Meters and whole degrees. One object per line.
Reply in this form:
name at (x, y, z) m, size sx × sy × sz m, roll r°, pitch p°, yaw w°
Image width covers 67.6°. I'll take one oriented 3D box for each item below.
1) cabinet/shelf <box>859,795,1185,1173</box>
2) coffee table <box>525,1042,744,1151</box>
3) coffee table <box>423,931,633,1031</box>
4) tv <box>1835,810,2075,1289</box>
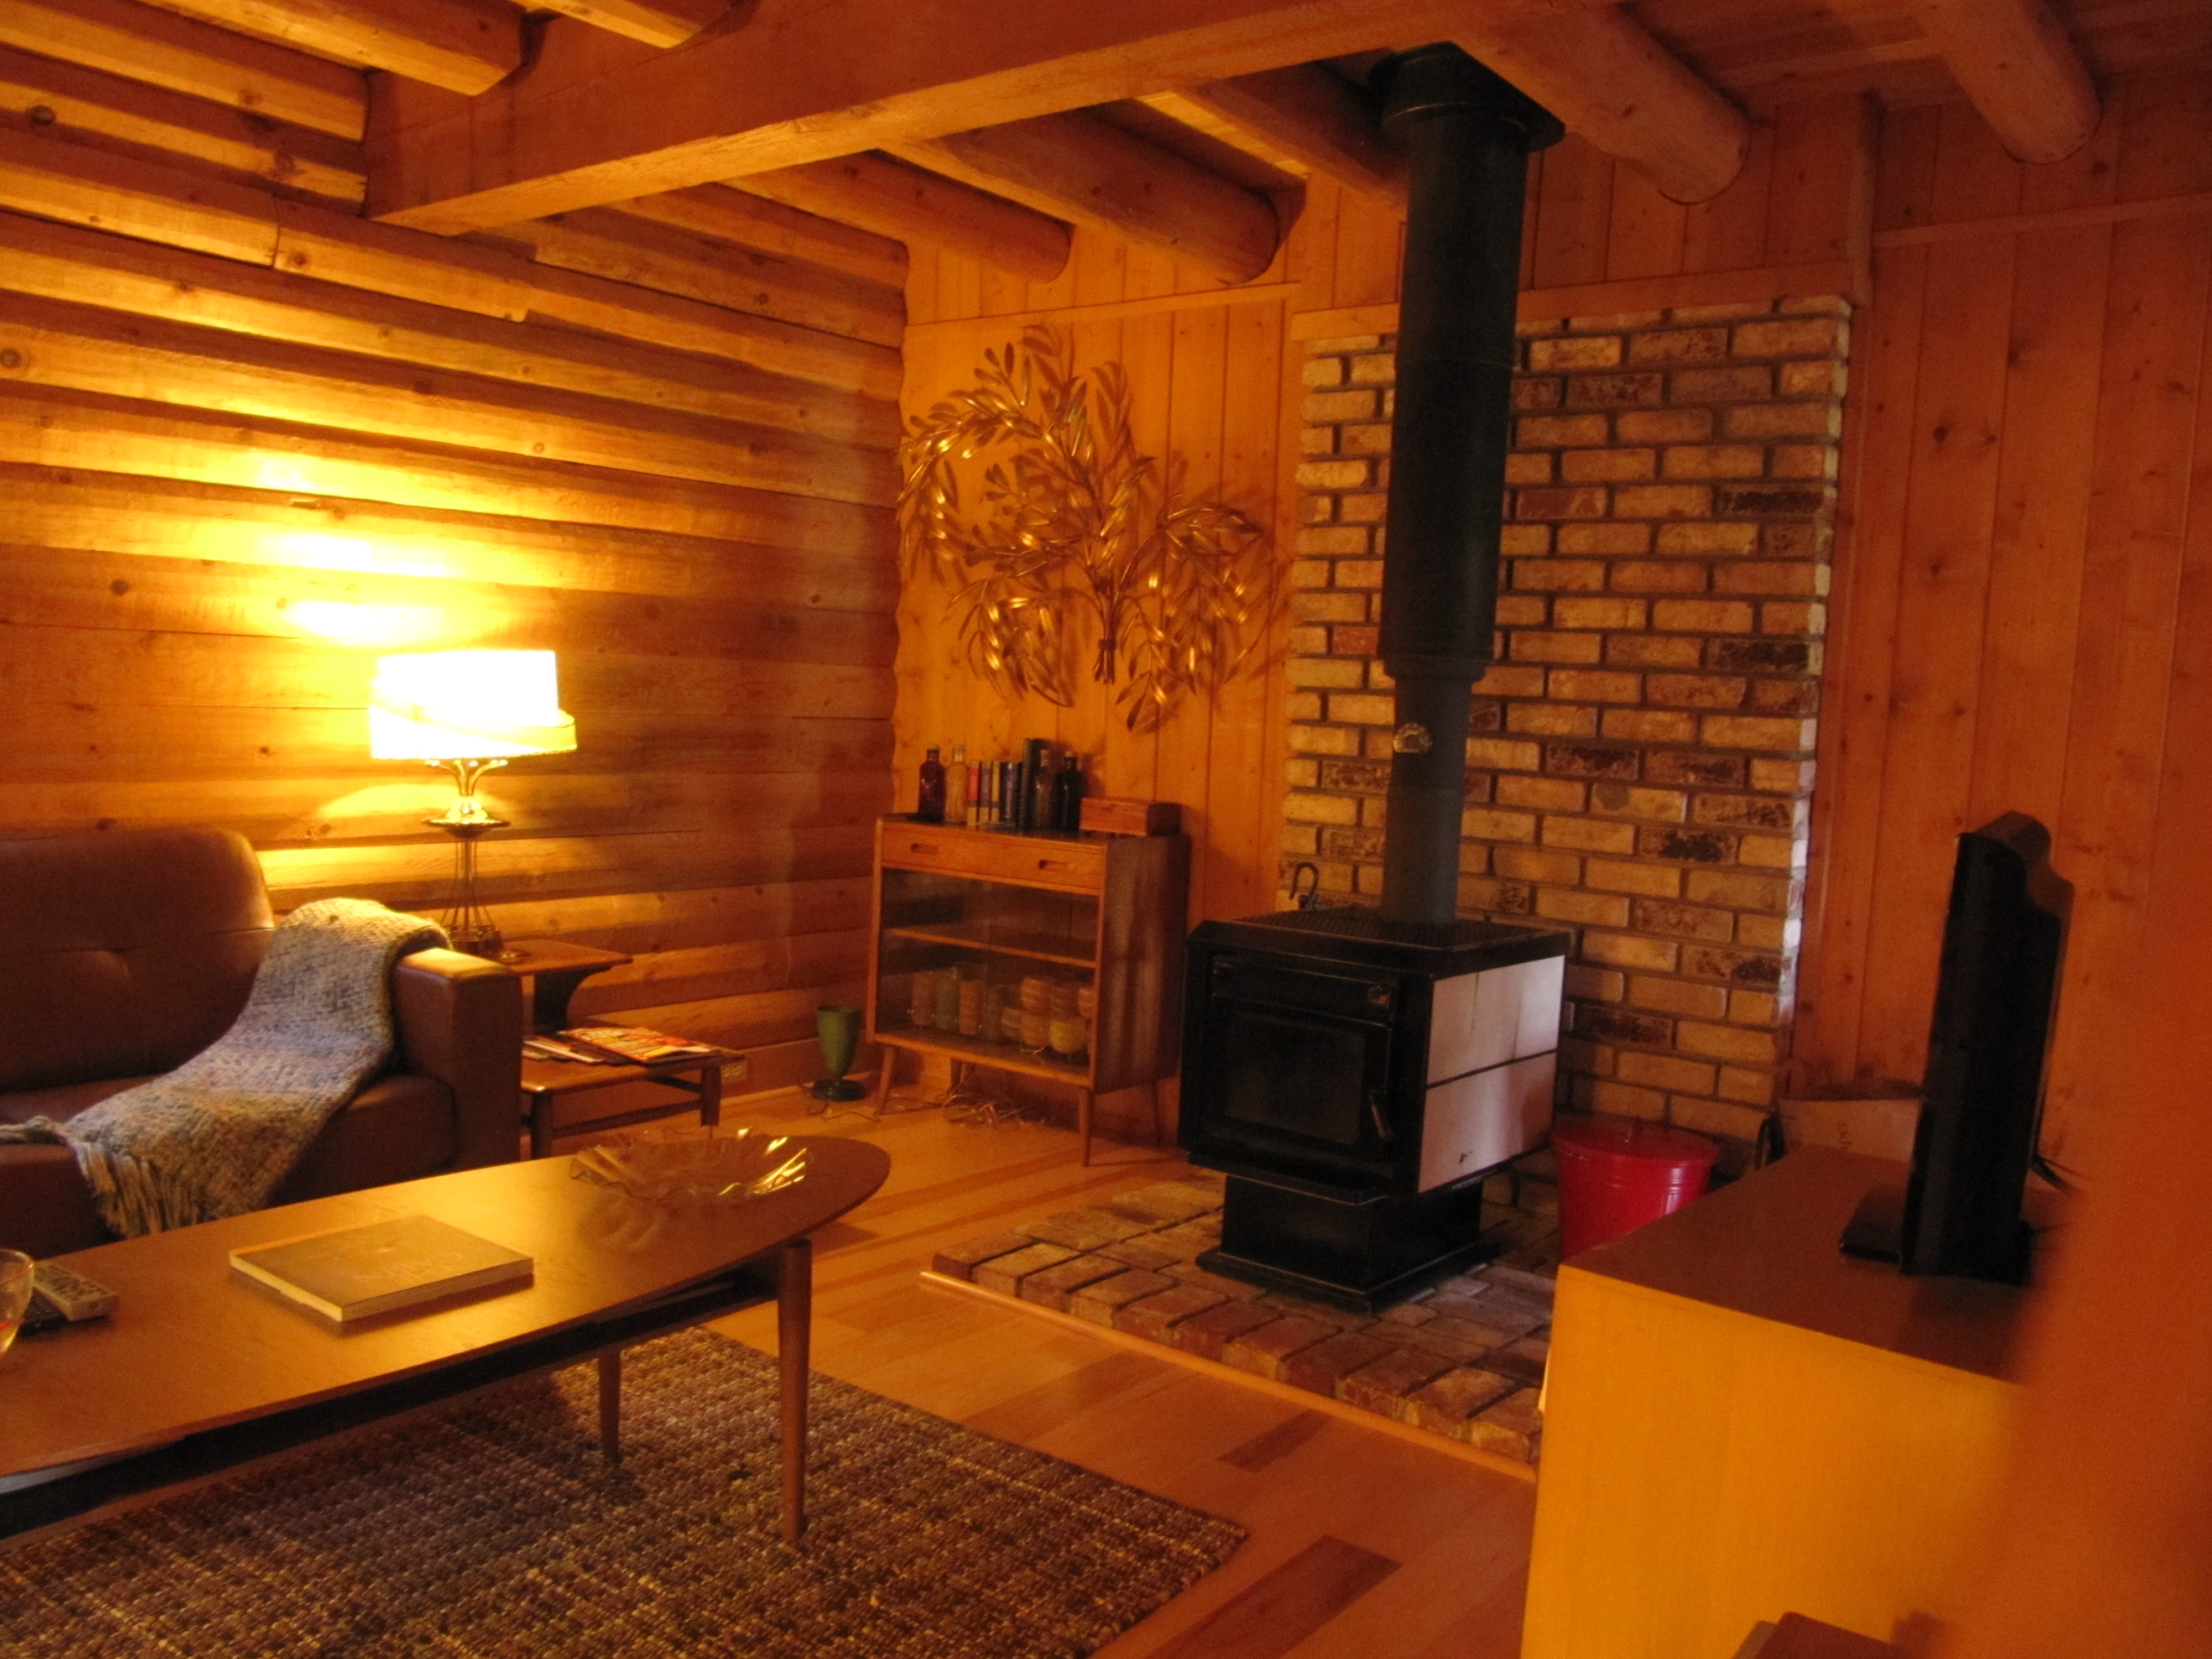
cabinet/shelf at (-0.208, 0.436, 4.734) m, size 1.079 × 0.955 × 0.512 m, roll 6°, pitch 6°, yaw 38°
coffee table at (-1.048, 0.612, 3.957) m, size 0.283 × 0.215 × 0.261 m, roll 0°, pitch 2°, yaw -34°
coffee table at (-1.376, 0.369, 4.100) m, size 0.284 × 0.151 × 0.280 m, roll 1°, pitch 2°, yaw -44°
tv at (0.873, 0.226, 1.618) m, size 0.117 × 0.472 × 0.228 m, roll 8°, pitch 6°, yaw 30°
